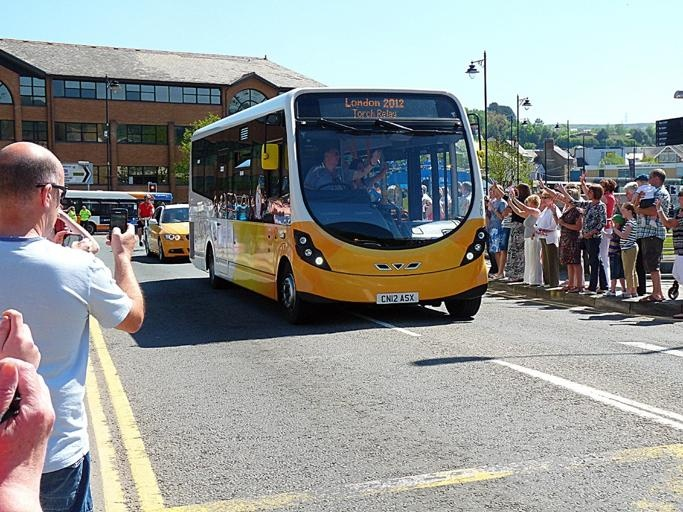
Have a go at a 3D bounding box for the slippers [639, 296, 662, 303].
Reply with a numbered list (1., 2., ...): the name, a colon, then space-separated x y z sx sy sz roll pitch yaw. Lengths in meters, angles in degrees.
1. slippers: 5.845 0.829 11.485 0.373 0.116 0.143 -3 5 17

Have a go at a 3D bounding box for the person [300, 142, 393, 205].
1. person: 0.063 -1.340 10.095 1.372 0.933 0.472 -1 3 -5

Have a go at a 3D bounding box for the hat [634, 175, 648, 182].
1. hat: 5.913 -1.518 11.956 0.145 0.101 0.211 1 6 4

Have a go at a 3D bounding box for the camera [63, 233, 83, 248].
1. camera: -1.206 -0.074 2.725 0.071 0.071 0.020 9 3 35
